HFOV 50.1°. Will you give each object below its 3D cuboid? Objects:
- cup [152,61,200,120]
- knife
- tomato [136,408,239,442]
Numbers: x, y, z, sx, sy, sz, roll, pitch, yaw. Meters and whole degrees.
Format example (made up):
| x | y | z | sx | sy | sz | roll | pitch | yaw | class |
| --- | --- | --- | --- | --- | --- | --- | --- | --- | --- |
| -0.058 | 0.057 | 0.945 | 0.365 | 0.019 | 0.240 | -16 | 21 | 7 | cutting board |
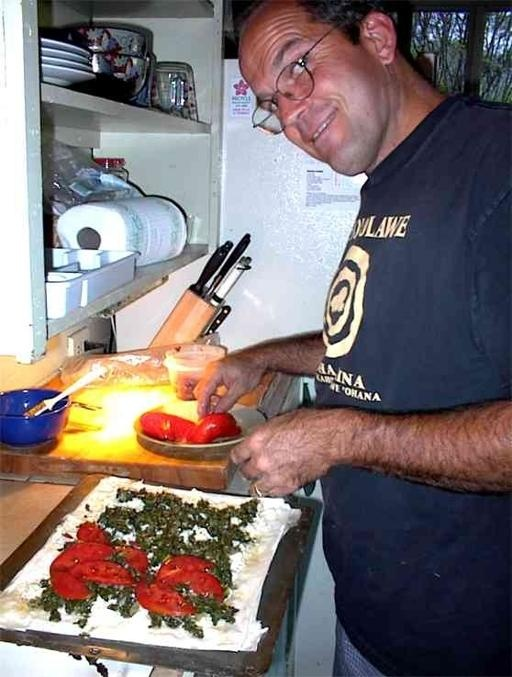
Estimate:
| x | y | z | sx | sy | sz | roll | pitch | yaw | class |
| --- | --- | --- | --- | --- | --- | --- | --- | --- | --- |
| -0.244 | -0.729 | 1.644 | 0.170 | 0.198 | 0.070 | -2 | 12 | -30 | cup |
| -0.118 | -0.184 | 1.935 | 0.137 | 0.446 | 0.024 | 39 | 21 | 11 | knife |
| -0.168 | 0.216 | 1.299 | 0.156 | 0.041 | 0.104 | 4 | 4 | -10 | tomato |
